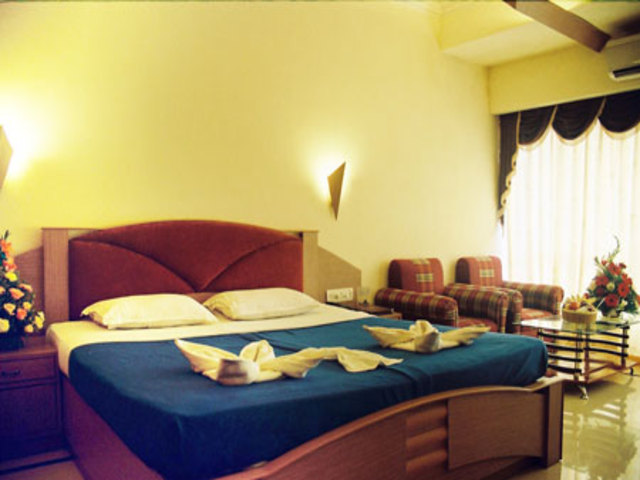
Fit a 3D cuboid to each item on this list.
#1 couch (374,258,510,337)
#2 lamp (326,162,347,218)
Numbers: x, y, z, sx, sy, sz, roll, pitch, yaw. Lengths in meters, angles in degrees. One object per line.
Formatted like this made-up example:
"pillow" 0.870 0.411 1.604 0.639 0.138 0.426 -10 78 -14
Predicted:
"couch" 1.336 0.618 5.054 0.996 0.832 0.961 1 -3 -38
"lamp" 0.172 -0.505 4.853 0.167 0.568 0.093 -3 8 -36
